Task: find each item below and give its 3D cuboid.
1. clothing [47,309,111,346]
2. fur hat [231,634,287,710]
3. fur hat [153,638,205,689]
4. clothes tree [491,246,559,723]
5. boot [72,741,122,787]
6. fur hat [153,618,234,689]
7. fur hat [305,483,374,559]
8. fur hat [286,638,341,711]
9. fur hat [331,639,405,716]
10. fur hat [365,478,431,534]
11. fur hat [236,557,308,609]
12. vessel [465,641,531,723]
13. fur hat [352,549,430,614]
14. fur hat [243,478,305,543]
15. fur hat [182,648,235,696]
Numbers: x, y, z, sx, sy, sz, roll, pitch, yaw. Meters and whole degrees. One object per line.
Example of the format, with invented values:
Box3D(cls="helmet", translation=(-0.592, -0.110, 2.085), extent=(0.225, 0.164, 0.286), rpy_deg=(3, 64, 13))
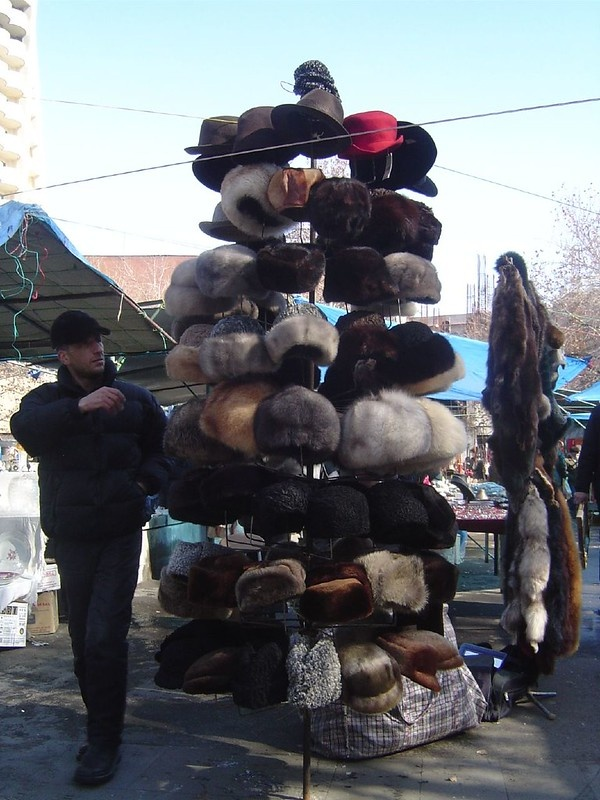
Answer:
Box3D(cls="clothing", translation=(-0.968, -0.318, 3.831), extent=(0.245, 0.106, 0.161), rpy_deg=(-16, 11, 8))
Box3D(cls="fur hat", translation=(-0.134, 1.020, 3.284), extent=(0.138, 0.215, 0.236), rpy_deg=(1, 4, 45))
Box3D(cls="fur hat", translation=(-0.449, 1.068, 3.494), extent=(0.206, 0.200, 0.067), rpy_deg=(4, -27, 33))
Box3D(cls="clothes tree", translation=(1.062, 0.445, 4.177), extent=(0.348, 2.285, 0.781), rpy_deg=(-1, 3, 16))
Box3D(cls="boot", translation=(-0.821, 1.454, 3.534), extent=(0.173, 0.124, 0.217), rpy_deg=(-1, 2, -8))
Box3D(cls="fur hat", translation=(-0.431, 1.008, 3.463), extent=(0.305, 0.084, 0.317), rpy_deg=(-6, 8, 13))
Box3D(cls="fur hat", translation=(0.133, 0.446, 3.312), extent=(0.253, 0.228, 0.299), rpy_deg=(2, -8, -13))
Box3D(cls="fur hat", translation=(0.048, 0.975, 3.133), extent=(0.215, 0.241, 0.099), rpy_deg=(-3, -15, 2))
Box3D(cls="fur hat", translation=(0.263, 1.039, 3.293), extent=(0.245, 0.228, 0.196), rpy_deg=(-1, 3, -5))
Box3D(cls="fur hat", translation=(0.367, 0.417, 3.348), extent=(0.216, 0.196, 0.149), rpy_deg=(-2, 3, -15))
Box3D(cls="fur hat", translation=(-0.113, 0.643, 3.097), extent=(0.186, 0.075, 0.223), rpy_deg=(-12, -14, -2))
Box3D(cls="vessel", translation=(0.996, 1.428, 4.490), extent=(0.303, 0.140, 0.380), rpy_deg=(3, 8, 30))
Box3D(cls="fur hat", translation=(0.360, 0.680, 3.296), extent=(0.301, 0.106, 0.239), rpy_deg=(-1, 16, 8))
Box3D(cls="fur hat", translation=(-0.073, 0.408, 3.247), extent=(0.216, 0.219, 0.243), rpy_deg=(-1, 2, 0))
Box3D(cls="fur hat", translation=(-0.333, 1.024, 3.326), extent=(0.224, 0.070, 0.149), rpy_deg=(-9, -3, -16))
